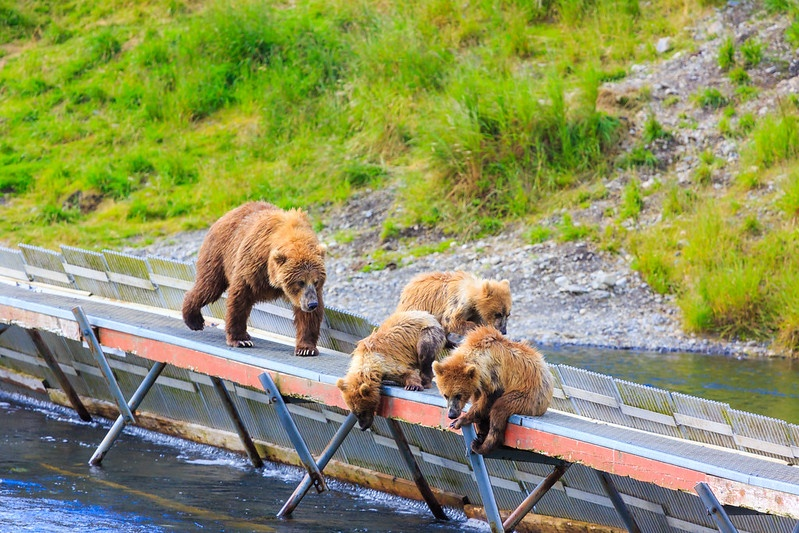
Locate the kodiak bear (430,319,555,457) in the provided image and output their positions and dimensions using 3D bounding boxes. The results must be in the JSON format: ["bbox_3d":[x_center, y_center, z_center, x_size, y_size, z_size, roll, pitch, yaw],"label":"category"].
[{"bbox_3d":[1.407,1.902,21.447,2.031,1.760,1.252,-15,24,-31],"label":"kodiak bear"}]

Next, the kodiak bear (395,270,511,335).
[{"bbox_3d":[0.920,0.589,23.465,1.673,0.999,0.941,8,-2,13],"label":"kodiak bear"}]

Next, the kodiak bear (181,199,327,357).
[{"bbox_3d":[-2.251,0.221,23.551,1.484,2.384,2.968,-5,11,-39],"label":"kodiak bear"}]

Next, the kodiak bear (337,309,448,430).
[{"bbox_3d":[-0.206,1.555,22.319,1.128,1.213,2.408,-4,22,29],"label":"kodiak bear"}]
